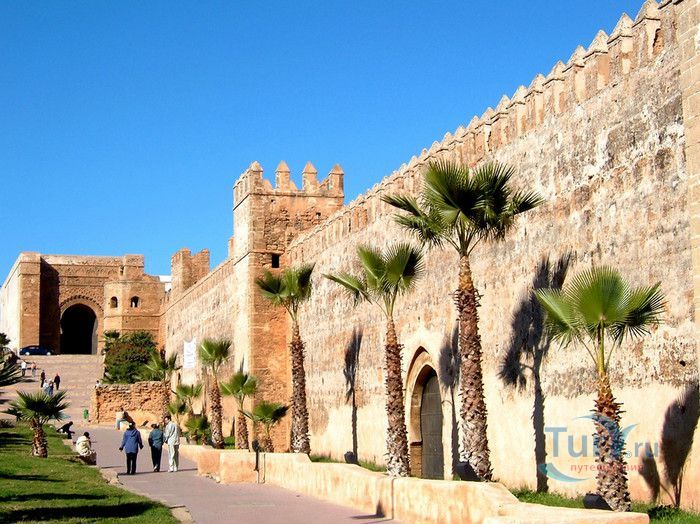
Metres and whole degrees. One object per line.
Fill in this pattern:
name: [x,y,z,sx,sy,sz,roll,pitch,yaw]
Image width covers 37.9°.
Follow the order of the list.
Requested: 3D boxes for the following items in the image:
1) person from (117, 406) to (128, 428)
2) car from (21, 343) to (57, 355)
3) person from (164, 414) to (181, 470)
person: [-9.458,6.480,42.146,0.539,1.204,0.556,2,-9,-14]
car: [-21.297,6.093,69.274,2.481,1.011,1.168,-1,-1,-8]
person: [-4.462,4.640,25.549,0.401,1.376,1.492,3,-17,-9]
